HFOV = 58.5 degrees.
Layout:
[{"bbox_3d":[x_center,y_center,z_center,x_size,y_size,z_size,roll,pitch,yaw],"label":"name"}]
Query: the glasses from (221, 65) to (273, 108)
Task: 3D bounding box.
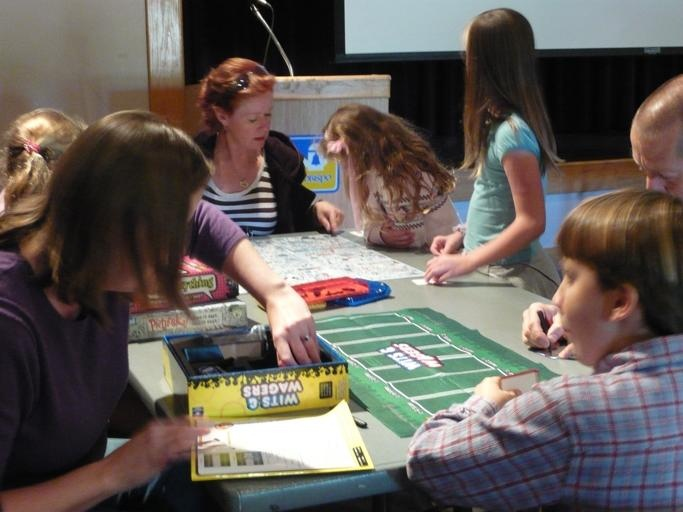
[{"bbox_3d":[-0.456,-0.836,3.053,0.227,0.207,0.172,-11,48,9],"label":"glasses"}]
